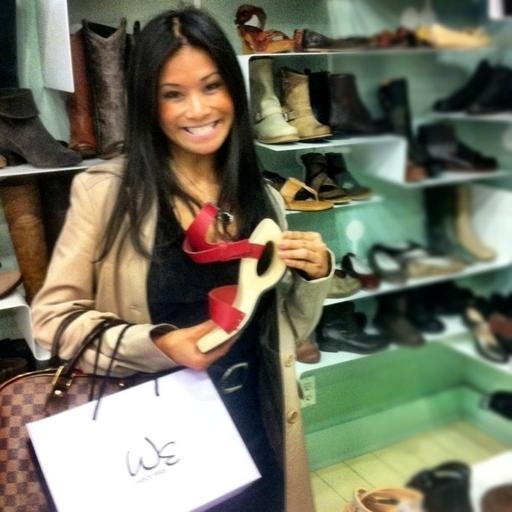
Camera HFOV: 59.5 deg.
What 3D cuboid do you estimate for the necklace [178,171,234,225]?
[{"bbox_3d":[-0.109,-0.119,0.921,0.202,0.017,0.055,42,28,27],"label":"necklace"}]
